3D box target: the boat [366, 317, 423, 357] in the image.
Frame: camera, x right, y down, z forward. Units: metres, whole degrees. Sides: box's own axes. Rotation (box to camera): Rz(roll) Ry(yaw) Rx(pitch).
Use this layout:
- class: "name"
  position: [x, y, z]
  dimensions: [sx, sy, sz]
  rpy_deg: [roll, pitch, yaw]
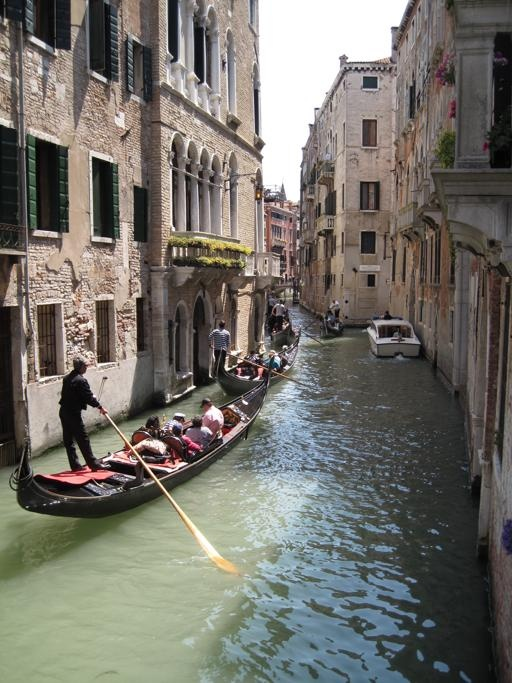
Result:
- class: "boat"
  position: [5.589, -0.157, 27.310]
  dimensions: [1.704, 1.325, 3.060]
  rpy_deg: [1, 5, 4]

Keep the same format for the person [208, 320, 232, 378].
- class: "person"
  position: [-0.945, 0.121, 17.229]
  dimensions: [0.456, 1.491, 0.387]
  rpy_deg: [-2, 25, -19]

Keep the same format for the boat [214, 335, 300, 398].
- class: "boat"
  position: [0.005, 0.789, 18.414]
  dimensions: [0.795, 1.555, 4.327]
  rpy_deg: [5, 16, 20]

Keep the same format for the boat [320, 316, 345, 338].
- class: "boat"
  position: [3.985, -0.784, 35.447]
  dimensions: [0.975, 0.970, 2.325]
  rpy_deg: [2, 5, 13]
